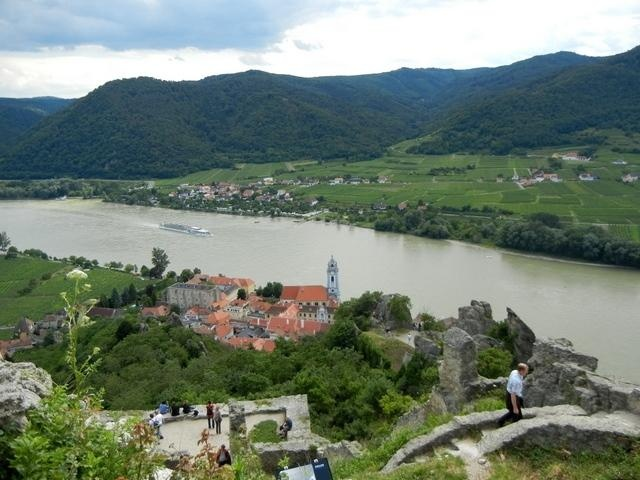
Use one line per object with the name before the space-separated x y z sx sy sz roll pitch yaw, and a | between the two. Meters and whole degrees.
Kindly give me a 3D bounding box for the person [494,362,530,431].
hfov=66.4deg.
person | 3.338 2.643 8.387 0.452 1.221 0.380 -4 9 -43
